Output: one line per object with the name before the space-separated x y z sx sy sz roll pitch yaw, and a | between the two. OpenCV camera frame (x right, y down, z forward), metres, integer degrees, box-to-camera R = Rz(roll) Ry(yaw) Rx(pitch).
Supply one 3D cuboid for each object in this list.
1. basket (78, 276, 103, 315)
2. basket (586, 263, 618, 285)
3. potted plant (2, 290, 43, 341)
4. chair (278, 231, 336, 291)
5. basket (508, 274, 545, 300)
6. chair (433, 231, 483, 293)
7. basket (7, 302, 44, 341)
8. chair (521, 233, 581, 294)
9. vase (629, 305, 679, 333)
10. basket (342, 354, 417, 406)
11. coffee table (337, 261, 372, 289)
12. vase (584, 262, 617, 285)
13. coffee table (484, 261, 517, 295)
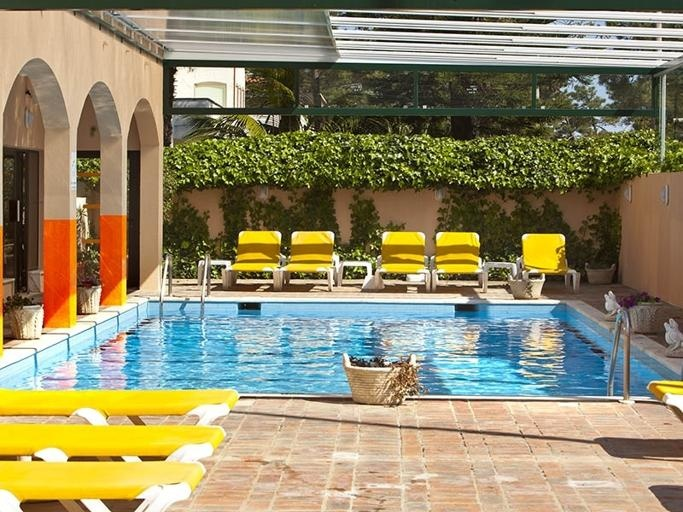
basket | -3.717 0.604 10.850 0.482 0.558 0.475 0 -3 -16
basket | 5.268 0.382 14.939 0.654 0.404 0.326 -2 5 -13
potted plant | -4.021 0.745 9.199 0.594 0.680 0.583 0 1 -4
chair | -0.633 0.029 13.942 0.900 0.935 1.175 0 -1 4
basket | 3.211 0.558 12.648 0.514 0.331 0.492 -1 0 12
chair | 2.224 0.022 13.811 0.882 1.025 1.189 0 -2 5
basket | -3.802 0.821 8.987 0.418 0.362 0.427 -1 0 39
chair | 3.929 0.042 14.084 0.935 1.052 1.260 0 -3 2
vase | 4.046 0.846 9.651 0.504 0.384 0.267 1 5 23
basket | 0.360 1.115 6.624 0.454 0.295 0.503 0 -7 -2
coffee table | 0.252 0.363 14.001 0.530 0.386 0.532 1 4 -8
vase | 5.236 0.410 14.993 0.504 0.334 0.458 1 -6 1
coffee table | 2.902 0.420 13.645 0.603 0.477 0.627 0 2 6
